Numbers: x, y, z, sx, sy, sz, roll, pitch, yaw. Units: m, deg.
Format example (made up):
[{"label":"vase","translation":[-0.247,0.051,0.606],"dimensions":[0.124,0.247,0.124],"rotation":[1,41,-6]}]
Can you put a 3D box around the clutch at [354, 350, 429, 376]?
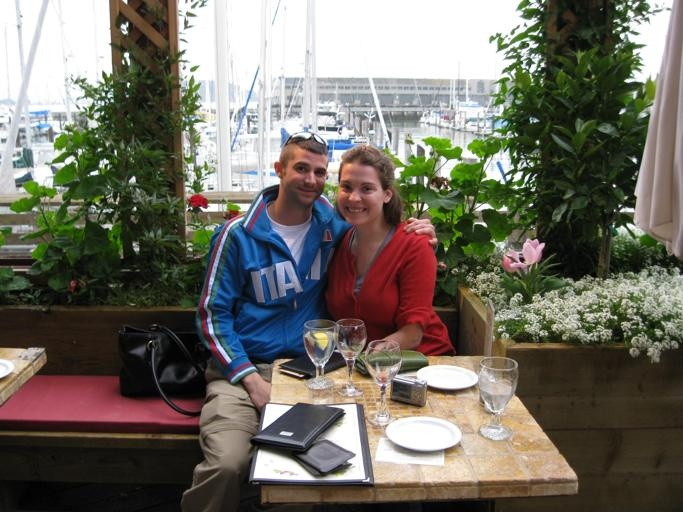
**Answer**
[{"label":"clutch","translation":[0.216,0.406,2.386],"dimensions":[0.223,0.054,0.130],"rotation":[-3,8,-26]}]

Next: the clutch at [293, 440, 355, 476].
[{"label":"clutch","translation":[-0.055,0.646,1.913],"dimensions":[0.105,0.031,0.106],"rotation":[12,16,40]}]

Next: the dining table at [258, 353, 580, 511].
[{"label":"dining table","translation":[0.292,0.657,2.075],"dimensions":[0.921,0.242,0.449],"rotation":[1,5,-2]}]

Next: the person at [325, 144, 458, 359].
[{"label":"person","translation":[0.178,-0.057,2.852],"dimensions":[0.548,0.955,0.258],"rotation":[5,7,35]}]

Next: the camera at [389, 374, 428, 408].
[{"label":"camera","translation":[0.261,0.495,2.249],"dimensions":[0.167,0.118,0.092],"rotation":[2,-1,30]}]
